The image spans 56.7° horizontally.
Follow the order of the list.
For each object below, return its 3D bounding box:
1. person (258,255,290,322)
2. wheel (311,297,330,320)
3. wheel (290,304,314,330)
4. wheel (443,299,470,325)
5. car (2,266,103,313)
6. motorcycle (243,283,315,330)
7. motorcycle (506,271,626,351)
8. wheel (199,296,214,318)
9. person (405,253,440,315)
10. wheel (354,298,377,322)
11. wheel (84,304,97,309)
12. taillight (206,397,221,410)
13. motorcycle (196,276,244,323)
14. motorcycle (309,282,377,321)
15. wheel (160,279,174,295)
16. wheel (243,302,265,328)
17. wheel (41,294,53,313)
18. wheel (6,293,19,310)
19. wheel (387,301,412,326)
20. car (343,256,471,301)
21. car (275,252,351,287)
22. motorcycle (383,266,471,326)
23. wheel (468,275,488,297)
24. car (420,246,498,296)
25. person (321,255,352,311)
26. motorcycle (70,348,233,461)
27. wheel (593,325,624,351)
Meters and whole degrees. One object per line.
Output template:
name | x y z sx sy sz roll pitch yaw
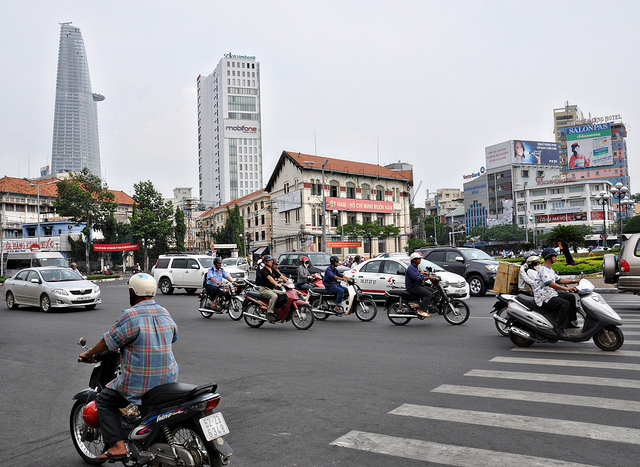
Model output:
person | -1.123 1.380 15.530 0.888 1.595 0.949 -2 8 -22
wheel | 0.009 2.098 16.743 0.691 0.757 0.146 2 0 12
wheel | -0.470 2.149 15.359 0.582 0.623 0.407 -1 2 -3
wheel | 3.471 2.009 15.158 0.620 0.654 0.131 -5 -3 6
car | -9.908 2.036 21.727 3.613 1.198 1.669 -5 -6 38
motorcycle | -1.170 1.869 15.613 2.012 1.253 0.800 -2 -8 19
motorcycle | 4.774 1.512 11.745 2.271 1.510 0.878 0 9 24
wheel | -3.478 2.242 18.201 0.691 0.787 0.206 0 2 42
person | 2.593 1.284 15.180 0.766 1.542 0.444 -1 2 10
wheel | 1.264 2.119 16.432 0.613 0.613 0.356 -1 2 2
wheel | -8.450 2.697 21.773 0.359 0.085 0.344 -1 -2 0
taillight | -1.181 1.879 6.528 0.144 0.179 0.179 -1 2 -11
motorcycle | -3.115 1.977 18.186 1.984 1.288 0.912 -2 -6 38
motorcycle | 0.528 1.858 16.649 2.037 1.180 0.754 -3 -2 26
wheel | -7.225 2.511 28.043 0.881 0.726 0.324 1 3 41
wheel | -1.755 2.163 15.839 0.640 0.686 0.134 8 7 35
wheel | -9.558 2.420 20.709 0.604 0.607 0.200 9 1 43
wheel | -11.536 2.517 22.223 0.557 0.559 0.182 14 6 35
wheel | 2.073 2.046 15.364 0.650 0.688 0.137 1 -3 22
car | 2.822 1.298 19.120 3.563 1.219 1.733 -4 -3 36
car | -0.061 1.428 23.307 1.297 1.107 2.597 1 -4 -41
motorcycle | 2.729 1.642 15.335 2.187 1.459 1.050 -3 -6 14
wheel | 5.880 1.930 22.038 0.294 0.812 0.809 3 -1 -35
car | 5.239 1.281 22.748 1.422 1.297 2.898 0 -1 -45
person | 0.469 1.386 16.968 0.790 1.411 1.492 -1 2 2
motorcycle | -1.997 2.046 6.790 2.168 1.469 0.630 0 2 34
wheel | 5.441 1.978 11.198 0.463 0.465 0.183 12 6 42
